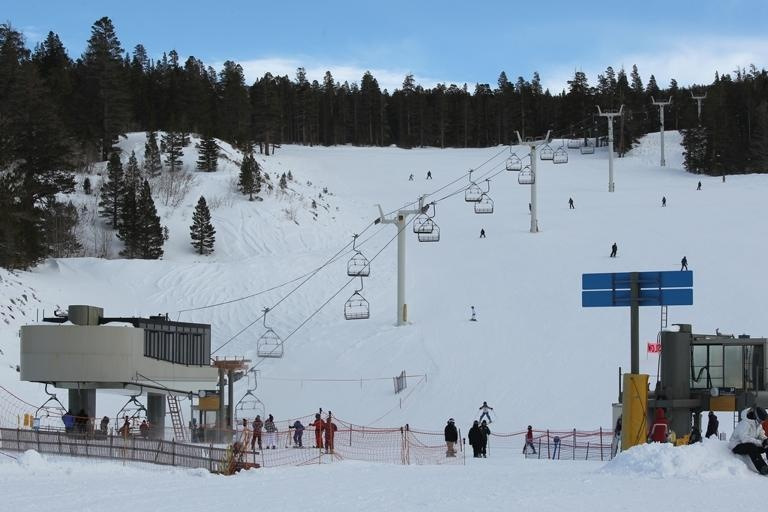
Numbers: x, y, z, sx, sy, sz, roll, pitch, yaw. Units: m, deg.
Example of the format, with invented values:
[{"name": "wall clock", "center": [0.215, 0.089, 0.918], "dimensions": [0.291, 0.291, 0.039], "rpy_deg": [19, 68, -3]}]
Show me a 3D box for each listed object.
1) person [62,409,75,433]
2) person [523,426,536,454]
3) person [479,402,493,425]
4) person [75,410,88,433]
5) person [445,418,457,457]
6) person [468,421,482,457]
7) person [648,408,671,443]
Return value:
[{"name": "person", "center": [-21.035, 10.883, 108.536], "dimensions": [0.795, 1.186, 2.415], "rpy_deg": [1, -3, -11]}, {"name": "person", "center": [9.794, 12.146, 109.256], "dimensions": [0.853, 1.800, 1.131], "rpy_deg": [0, -3, 5]}, {"name": "person", "center": [7.043, 10.795, 112.673], "dimensions": [1.212, 0.853, 2.267], "rpy_deg": [3, -42, 7]}, {"name": "person", "center": [-20.226, 10.891, 109.285], "dimensions": [0.797, 1.368, 2.453], "rpy_deg": [1, -3, -10]}, {"name": "person", "center": [4.470, 11.953, 108.626], "dimensions": [0.728, 2.412, 0.983], "rpy_deg": [0, -3, 5]}, {"name": "person", "center": [6.077, 12.042, 108.556], "dimensions": [0.886, 2.386, 0.810], "rpy_deg": [0, -3, 13]}, {"name": "person", "center": [17.206, 10.488, 102.578], "dimensions": [1.131, 2.065, 1.182], "rpy_deg": [-3, -5, 43]}]
